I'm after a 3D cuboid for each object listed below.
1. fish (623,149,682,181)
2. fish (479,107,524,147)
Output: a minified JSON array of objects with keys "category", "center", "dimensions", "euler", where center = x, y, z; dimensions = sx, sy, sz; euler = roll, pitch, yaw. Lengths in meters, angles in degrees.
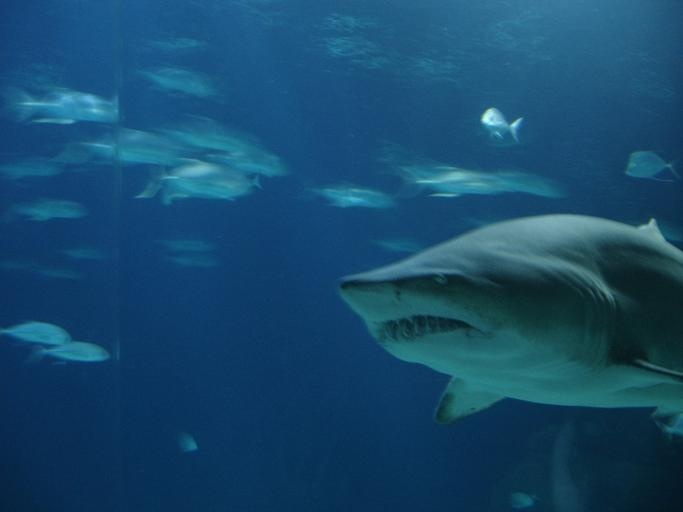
[{"category":"fish","center":[4.476,-1.293,14.188],"dimensions":[0.747,0.456,0.445],"euler":[3,14,-1]},{"category":"fish","center":[2.294,-1.882,14.209],"dimensions":[0.635,0.507,0.842],"euler":[4,13,5]}]
